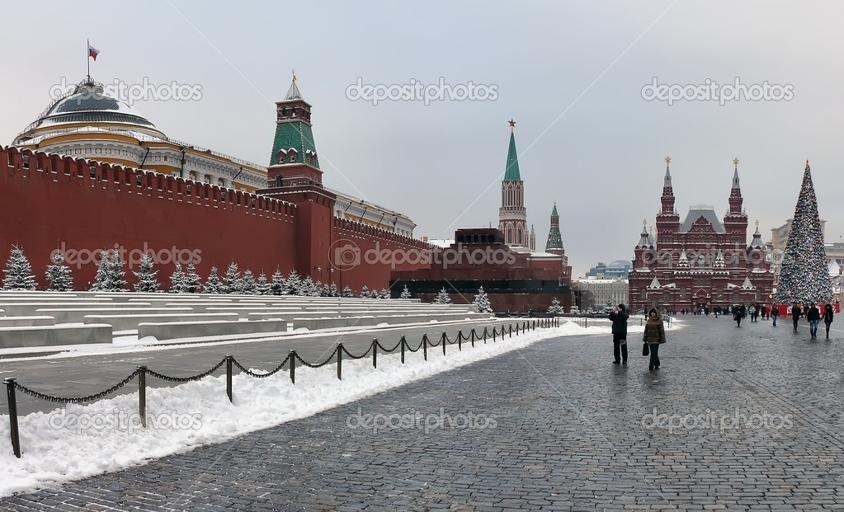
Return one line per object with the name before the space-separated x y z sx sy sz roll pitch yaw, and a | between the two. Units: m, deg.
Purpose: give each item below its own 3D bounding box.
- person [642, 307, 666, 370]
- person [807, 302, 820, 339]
person | 5.652 2.023 20.138 0.465 1.523 0.518 1 5 14
person | 14.127 2.405 29.803 0.278 1.108 1.455 1 5 23
